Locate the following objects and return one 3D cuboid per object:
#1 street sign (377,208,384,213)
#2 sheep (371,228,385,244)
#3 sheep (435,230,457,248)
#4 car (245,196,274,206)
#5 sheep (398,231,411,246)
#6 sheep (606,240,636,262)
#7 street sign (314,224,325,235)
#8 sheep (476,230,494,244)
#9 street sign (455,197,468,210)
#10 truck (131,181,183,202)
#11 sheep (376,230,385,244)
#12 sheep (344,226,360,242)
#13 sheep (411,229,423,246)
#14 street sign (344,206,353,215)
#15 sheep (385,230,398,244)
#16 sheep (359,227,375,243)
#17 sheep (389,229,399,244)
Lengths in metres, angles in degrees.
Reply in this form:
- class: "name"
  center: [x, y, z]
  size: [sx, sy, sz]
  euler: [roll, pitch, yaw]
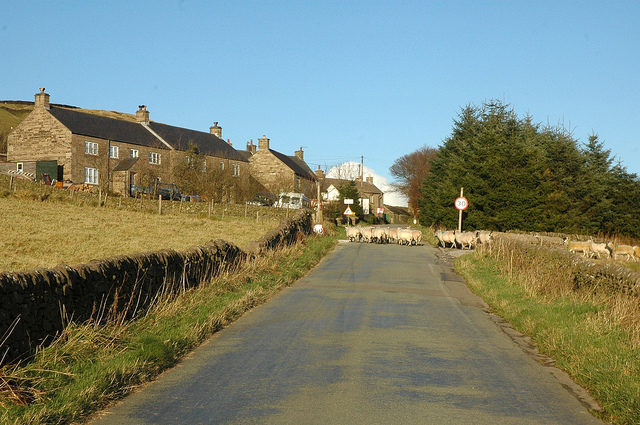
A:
- class: "street sign"
  center: [10.881, -0.231, 101.836]
  size: [0.883, 0.644, 0.887]
  euler: [0, 4, 8]
- class: "sheep"
  center: [4.040, 1.591, 39.570]
  size: [0.565, 0.944, 1.186]
  euler: [-2, 6, -22]
- class: "sheep"
  center: [8.068, 1.680, 35.891]
  size: [0.942, 1.094, 2.060]
  euler: [1, 6, 7]
- class: "car"
  center: [-6.645, -1.164, 62.400]
  size: [1.081, 0.803, 2.296]
  euler: [0, -5, 19]
- class: "sheep"
  center: [5.579, 1.673, 37.233]
  size: [0.679, 0.891, 1.602]
  euler: [0, 6, 0]
- class: "sheep"
  center: [14.576, 1.875, 27.476]
  size: [1.194, 0.800, 1.632]
  euler: [3, 7, 28]
- class: "street sign"
  center: [0.163, 1.217, 40.613]
  size: [0.597, 0.623, 0.158]
  euler: [5, 3, 39]
- class: "sheep"
  center: [9.127, 1.356, 31.756]
  size: [0.587, 1.126, 1.957]
  euler: [1, -4, -2]
- class: "street sign"
  center: [8.360, -0.483, 33.592]
  size: [0.565, 0.727, 1.214]
  euler: [2, 6, 19]
- class: "truck"
  center: [-16.330, -2.176, 57.435]
  size: [4.422, 1.976, 9.036]
  euler: [-1, 6, -12]
- class: "sheep"
  center: [4.221, 1.623, 39.516]
  size: [0.564, 0.876, 0.883]
  euler: [1, 6, 5]
- class: "sheep"
  center: [2.412, 1.578, 41.041]
  size: [0.911, 0.817, 1.052]
  euler: [1, 6, 4]
- class: "sheep"
  center: [6.310, 1.628, 37.271]
  size: [0.557, 0.915, 0.865]
  euler: [2, 6, 21]
- class: "street sign"
  center: [2.842, -0.163, 57.632]
  size: [1.030, 1.165, 0.088]
  euler: [0, -23, 3]
- class: "sheep"
  center: [5.011, 1.688, 39.428]
  size: [0.785, 0.978, 1.621]
  euler: [1, 6, 6]
- class: "sheep"
  center: [3.305, 1.562, 40.713]
  size: [0.683, 1.025, 1.986]
  euler: [-1, 6, -14]
- class: "sheep"
  center: [5.061, 1.642, 38.989]
  size: [0.570, 0.852, 1.231]
  euler: [1, 6, 7]
